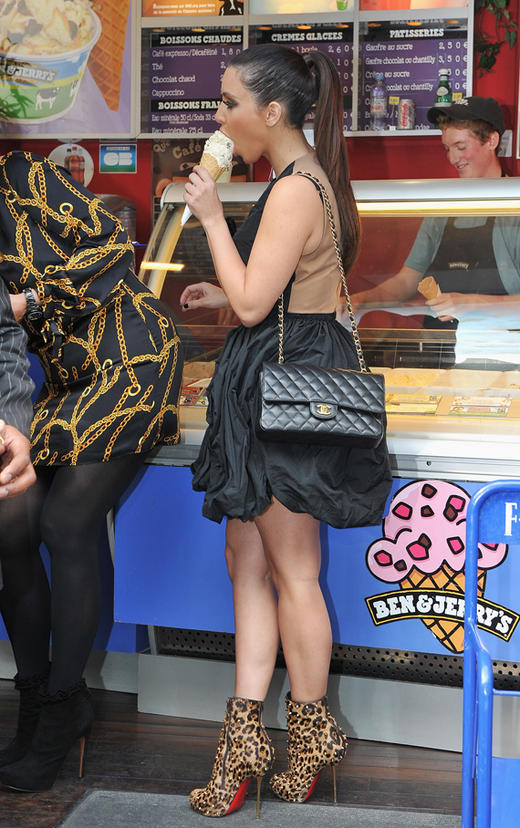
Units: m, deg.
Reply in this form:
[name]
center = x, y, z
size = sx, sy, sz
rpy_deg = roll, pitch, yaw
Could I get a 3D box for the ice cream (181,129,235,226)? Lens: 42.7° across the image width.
[ice cream]
center = -0.114, -0.533, 1.506
size = 0.073, 0.071, 0.223
rpy_deg = 18, 18, -24

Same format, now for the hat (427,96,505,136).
[hat]
center = 0.921, -1.338, 2.951
size = 0.345, 0.162, 0.223
rpy_deg = 8, 19, -5
